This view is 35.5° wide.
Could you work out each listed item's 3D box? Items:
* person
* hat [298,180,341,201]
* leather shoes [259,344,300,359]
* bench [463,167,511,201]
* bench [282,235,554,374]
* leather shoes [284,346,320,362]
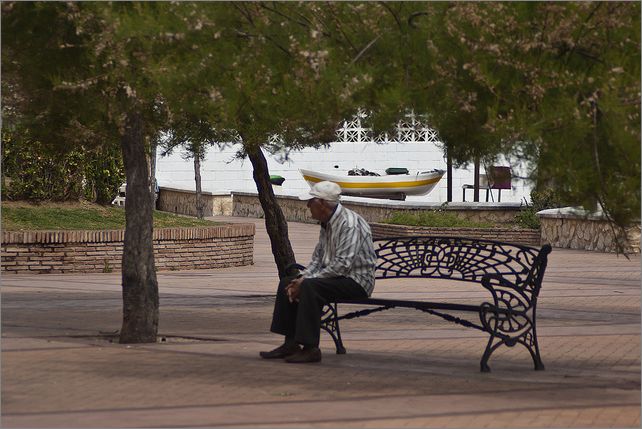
[{"bbox_3d":[0.019,0.635,10.922,1.139,1.995,0.504,5,-5,1],"label":"person"},{"bbox_3d":[0.003,-0.241,10.966,0.356,0.176,0.229,5,0,1],"label":"hat"},{"bbox_3d":[-0.444,1.489,11.050,0.487,0.182,0.167,1,-3,3],"label":"leather shoes"},{"bbox_3d":[4.156,-0.732,25.631,0.594,1.102,1.601,4,-5,-43],"label":"bench"},{"bbox_3d":[1.092,0.971,11.739,2.849,1.303,1.094,3,12,13],"label":"bench"},{"bbox_3d":[-0.198,1.514,10.886,0.408,0.173,0.152,2,-6,-9],"label":"leather shoes"}]
